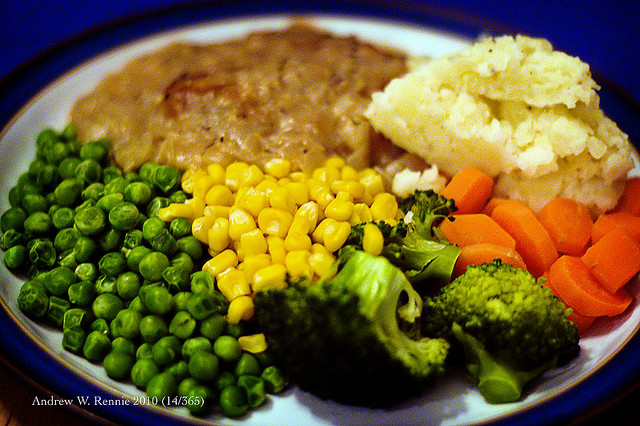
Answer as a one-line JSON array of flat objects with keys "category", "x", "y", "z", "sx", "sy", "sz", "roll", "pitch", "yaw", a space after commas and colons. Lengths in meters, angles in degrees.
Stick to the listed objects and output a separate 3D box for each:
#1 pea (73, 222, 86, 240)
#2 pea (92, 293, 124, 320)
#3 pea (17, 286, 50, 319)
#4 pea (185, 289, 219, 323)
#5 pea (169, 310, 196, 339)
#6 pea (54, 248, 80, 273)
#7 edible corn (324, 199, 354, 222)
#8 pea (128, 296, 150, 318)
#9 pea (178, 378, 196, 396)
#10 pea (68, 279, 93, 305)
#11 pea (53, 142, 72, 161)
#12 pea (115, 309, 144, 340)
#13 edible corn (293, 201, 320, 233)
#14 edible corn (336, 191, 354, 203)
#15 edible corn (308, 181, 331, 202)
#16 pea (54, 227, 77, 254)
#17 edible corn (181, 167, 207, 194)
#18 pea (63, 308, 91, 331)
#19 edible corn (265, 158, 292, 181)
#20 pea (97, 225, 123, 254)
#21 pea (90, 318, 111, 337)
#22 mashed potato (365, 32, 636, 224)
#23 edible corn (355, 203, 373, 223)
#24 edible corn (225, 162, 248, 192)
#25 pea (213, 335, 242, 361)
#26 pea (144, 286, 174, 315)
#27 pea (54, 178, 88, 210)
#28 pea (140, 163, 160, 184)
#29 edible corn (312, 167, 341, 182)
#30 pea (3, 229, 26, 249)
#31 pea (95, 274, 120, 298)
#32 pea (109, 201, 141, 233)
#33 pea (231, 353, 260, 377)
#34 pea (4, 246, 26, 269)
[{"category": "pea", "x": -2.135, "y": 0.163, "z": 4.971, "sx": 0.042, "sy": 0.113, "sz": 0.127, "roll": -35, "pitch": 100, "yaw": -14}, {"category": "pea", "x": -1.763, "y": 0.779, "z": 4.736, "sx": 0.233, "sy": 0.175, "sz": 0.191, "roll": 13, "pitch": 79, "yaw": -17}, {"category": "pea", "x": -2.401, "y": 0.742, "z": 4.734, "sx": 0.202, "sy": 0.098, "sz": 0.292, "roll": -8, "pitch": 92, "yaw": -10}, {"category": "pea", "x": -0.961, "y": 0.781, "z": 4.700, "sx": 0.244, "sy": 0.241, "sz": 0.261, "roll": 29, "pitch": 52, "yaw": -15}, {"category": "pea", "x": -1.117, "y": 0.924, "z": 4.610, "sx": 0.171, "sy": 0.125, "sz": 0.224, "roll": 14, "pitch": 74, "yaw": 4}, {"category": "pea", "x": -2.213, "y": 0.402, "z": 4.966, "sx": 0.146, "sy": 0.081, "sz": 0.210, "roll": 17, "pitch": 64, "yaw": 13}, {"category": "edible corn", "x": 0.180, "y": -0.028, "z": 5.000, "sx": 0.202, "sy": 0.104, "sz": 0.199, "roll": 15, "pitch": 59, "yaw": 18}, {"category": "pea", "x": -1.486, "y": 0.777, "z": 4.707, "sx": 0.139, "sy": 0.144, "sz": 0.179, "roll": 7, "pitch": 93, "yaw": -6}, {"category": "pea", "x": -1.042, "y": 1.365, "z": 4.467, "sx": 0.115, "sy": 0.117, "sz": 0.142, "roll": 29, "pitch": 87, "yaw": -7}, {"category": "pea", "x": -1.993, "y": 0.660, "z": 4.762, "sx": 0.151, "sy": 0.100, "sz": 0.195, "roll": 33, "pitch": 63, "yaw": 13}, {"category": "pea", "x": -2.562, "y": -0.622, "z": 5.591, "sx": 0.146, "sy": 0.081, "sz": 0.156, "roll": 10, "pitch": 63, "yaw": -9}, {"category": "pea", "x": -1.562, "y": 0.902, "z": 4.624, "sx": 0.230, "sy": 0.136, "sz": 0.214, "roll": -23, "pitch": 63, "yaw": -11}, {"category": "edible corn", "x": -0.118, "y": 0.043, "z": 5.089, "sx": 0.167, "sy": 0.113, "sz": 0.302, "roll": 28, "pitch": 68, "yaw": 0}, {"category": "edible corn", "x": 0.233, "y": -0.154, "z": 5.085, "sx": 0.098, "sy": 0.046, "sz": 0.103, "roll": 8, "pitch": 21, "yaw": -10}, {"category": "edible corn", "x": -0.008, "y": -0.226, "z": 5.199, "sx": 0.171, "sy": 0.065, "sz": 0.173, "roll": 22, "pitch": 68, "yaw": 30}, {"category": "pea", "x": -2.270, "y": 0.229, "z": 5.037, "sx": 0.192, "sy": 0.119, "sz": 0.206, "roll": 3, "pitch": 69, "yaw": -12}, {"category": "edible corn", "x": -1.219, "y": -0.324, "z": 5.321, "sx": 0.225, "sy": 0.091, "sz": 0.231, "roll": -40, "pitch": 54, "yaw": 17}, {"category": "pea", "x": -2.019, "y": 0.871, "z": 4.691, "sx": 0.180, "sy": 0.171, "sz": 0.168, "roll": -2, "pitch": 75, "yaw": -3}, {"category": "edible corn", "x": -0.398, "y": -0.451, "z": 5.347, "sx": 0.247, "sy": 0.111, "sz": 0.227, "roll": 24, "pitch": 64, "yaw": 13}, {"category": "pea", "x": -1.851, "y": 0.201, "z": 4.989, "sx": 0.239, "sy": 0.133, "sz": 0.187, "roll": -43, "pitch": 106, "yaw": -3}, {"category": "pea", "x": -1.810, "y": 0.935, "z": 4.645, "sx": 0.134, "sy": 0.056, "sz": 0.158, "roll": 10, "pitch": 80, "yaw": -5}, {"category": "mashed potato", "x": 1.617, "y": -0.879, "z": 5.276, "sx": 2.043, "sy": 0.719, "sz": 1.772, "roll": 0, "pitch": 78, "yaw": 6}, {"category": "edible corn", "x": 0.399, "y": -0.001, "z": 5.195, "sx": 0.125, "sy": 0.063, "sz": 0.177, "roll": -27, "pitch": 95, "yaw": -27}, {"category": "edible corn", "x": -0.781, "y": -0.354, "z": 5.285, "sx": 0.225, "sy": 0.082, "sz": 0.239, "roll": 23, "pitch": 68, "yaw": -32}, {"category": "pea", "x": -0.748, "y": 1.107, "z": 4.605, "sx": 0.232, "sy": 0.113, "sz": 0.183, "roll": 18, "pitch": 63, "yaw": 10}, {"category": "pea", "x": -1.308, "y": 0.705, "z": 4.633, "sx": 0.206, "sy": 0.206, "sz": 0.210, "roll": 2, "pitch": 96, "yaw": 1}, {"category": "pea", "x": -2.378, "y": -0.186, "z": 5.390, "sx": 0.221, "sy": 0.290, "sz": 0.254, "roll": -12, "pitch": 90, "yaw": -39}, {"category": "pea", "x": -1.646, "y": -0.379, "z": 5.447, "sx": 0.171, "sy": 0.096, "sz": 0.176, "roll": 37, "pitch": 67, "yaw": 21}, {"category": "edible corn", "x": 0.062, "y": -0.370, "z": 5.348, "sx": 0.173, "sy": 0.148, "sz": 0.160, "roll": 0, "pitch": 90, "yaw": 25}, {"category": "pea", "x": -2.749, "y": 0.217, "z": 5.152, "sx": 0.145, "sy": 0.185, "sz": 0.144, "roll": 29, "pitch": 108, "yaw": 18}, {"category": "pea", "x": -1.839, "y": 0.619, "z": 4.857, "sx": 0.158, "sy": 0.092, "sz": 0.219, "roll": -21, "pitch": 59, "yaw": -14}, {"category": "pea", "x": -1.719, "y": 0.044, "z": 4.991, "sx": 0.258, "sy": 0.150, "sz": 0.225, "roll": -36, "pitch": 67, "yaw": -17}, {"category": "pea", "x": -0.601, "y": 1.234, "z": 4.581, "sx": 0.155, "sy": 0.109, "sz": 0.191, "roll": -2, "pitch": 34, "yaw": -23}, {"category": "pea", "x": -2.700, "y": 0.383, "z": 5.073, "sx": 0.146, "sy": 0.110, "sz": 0.197, "roll": 39, "pitch": 101, "yaw": 12}]
